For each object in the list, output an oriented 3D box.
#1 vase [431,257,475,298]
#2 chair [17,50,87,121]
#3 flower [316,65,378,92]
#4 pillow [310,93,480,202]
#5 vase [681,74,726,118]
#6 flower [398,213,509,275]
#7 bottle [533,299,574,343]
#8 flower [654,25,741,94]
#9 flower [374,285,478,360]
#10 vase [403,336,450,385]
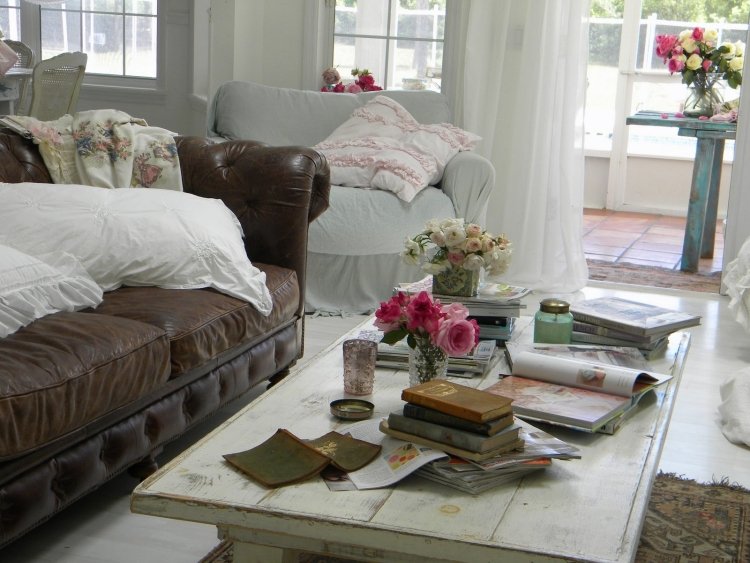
[{"bbox_3d":[0.209,-0.011,1.579,0.108,0.092,0.102,3,8,19],"label":"vase"},{"bbox_3d":[-2.048,-1.277,3.796,0.311,0.424,0.580,-3,14,-10],"label":"chair"},{"bbox_3d":[-0.210,-1.434,4.207,0.385,0.110,0.269,3,9,10],"label":"flower"},{"bbox_3d":[0.067,-0.774,3.421,0.761,0.218,0.744,23,53,26],"label":"pillow"},{"bbox_3d":[2.641,-1.478,4.719,0.422,0.373,0.399,3,20,16],"label":"vase"},{"bbox_3d":[0.227,-0.089,1.556,0.213,0.101,0.178,2,8,-33],"label":"flower"},{"bbox_3d":[0.483,0.110,1.632,0.128,0.123,0.112,0,11,-7],"label":"bottle"},{"bbox_3d":[2.530,-1.736,4.550,0.599,0.466,0.279,5,16,21],"label":"flower"},{"bbox_3d":[0.119,0.096,1.271,0.180,0.110,0.171,21,2,7],"label":"flower"},{"bbox_3d":[0.120,0.187,1.349,0.099,0.093,0.097,-4,-5,33],"label":"vase"}]
